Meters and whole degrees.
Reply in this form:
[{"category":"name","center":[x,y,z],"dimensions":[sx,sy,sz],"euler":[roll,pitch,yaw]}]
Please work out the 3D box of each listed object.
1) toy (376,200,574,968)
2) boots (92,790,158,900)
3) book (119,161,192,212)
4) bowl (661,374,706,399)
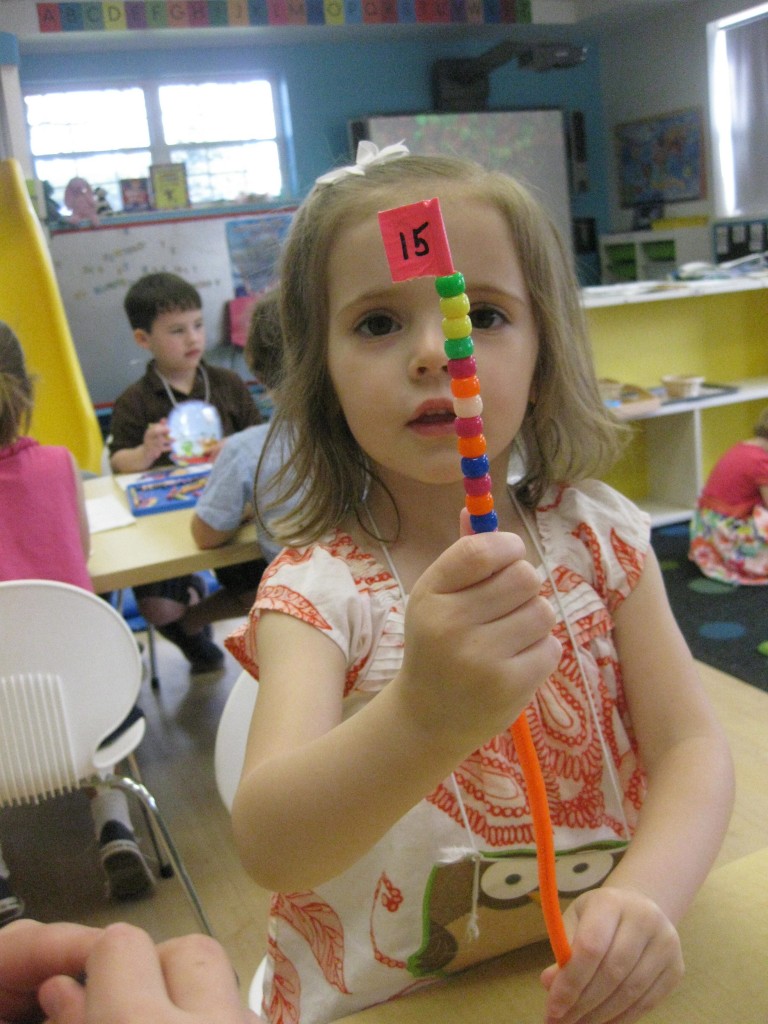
[{"category":"toy","center":[0.064,0.082,0.507],"dimensions":[0.058,0.500,0.205],"euler":[-7,16,5]},{"category":"boots","center":[-0.537,0.661,1.739],"dimensions":[0.079,0.202,0.133],"euler":[-13,58,-13]},{"category":"book","center":[-1.279,-1.811,4.752],"dimensions":[0.435,0.290,0.236],"euler":[-4,1,-22]},{"category":"bowl","center":[1.232,-0.507,3.444],"dimensions":[0.110,0.055,0.143],"euler":[-10,15,-21]}]
